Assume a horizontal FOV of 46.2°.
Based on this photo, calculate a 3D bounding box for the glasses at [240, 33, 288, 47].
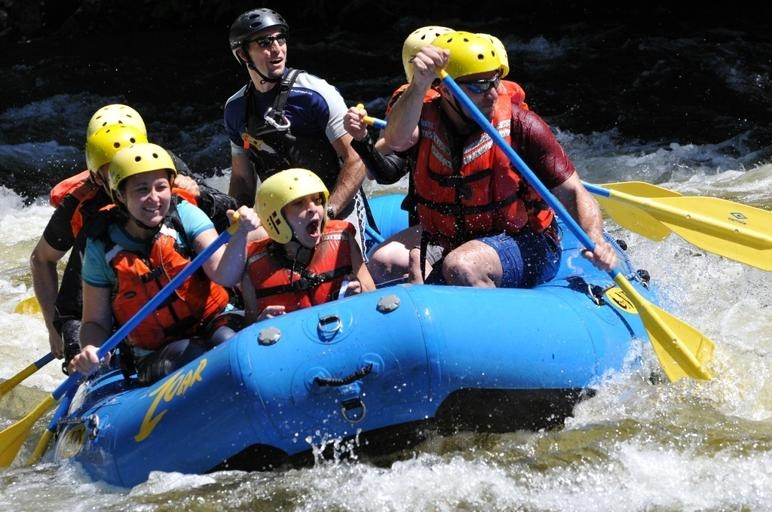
[{"bbox_3d":[-1.001,-1.781,7.579,0.192,0.059,0.194,-24,2,29],"label":"glasses"}]

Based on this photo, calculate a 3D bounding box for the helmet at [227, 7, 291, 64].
[{"bbox_3d":[-1.103,-1.876,7.713,0.373,0.491,0.364,-14,13,-35],"label":"helmet"}]

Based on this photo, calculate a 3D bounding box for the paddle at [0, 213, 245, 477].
[{"bbox_3d":[-1.927,0.705,6.804,2.628,0.474,0.181,-44,-29,5],"label":"paddle"}]

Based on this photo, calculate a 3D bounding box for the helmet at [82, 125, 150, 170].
[{"bbox_3d":[-2.081,-0.810,6.883,0.431,0.347,0.330,12,5,4],"label":"helmet"}]

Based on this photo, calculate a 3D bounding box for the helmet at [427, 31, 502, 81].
[{"bbox_3d":[0.597,-1.481,6.771,0.439,0.273,0.340,6,13,11],"label":"helmet"}]

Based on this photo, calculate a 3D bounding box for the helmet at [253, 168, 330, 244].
[{"bbox_3d":[-0.688,-0.362,6.803,0.561,0.484,0.435,-19,-7,28],"label":"helmet"}]

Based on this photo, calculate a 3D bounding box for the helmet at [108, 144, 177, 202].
[{"bbox_3d":[-1.817,-0.657,6.695,0.463,0.368,0.353,-31,-5,30],"label":"helmet"}]
